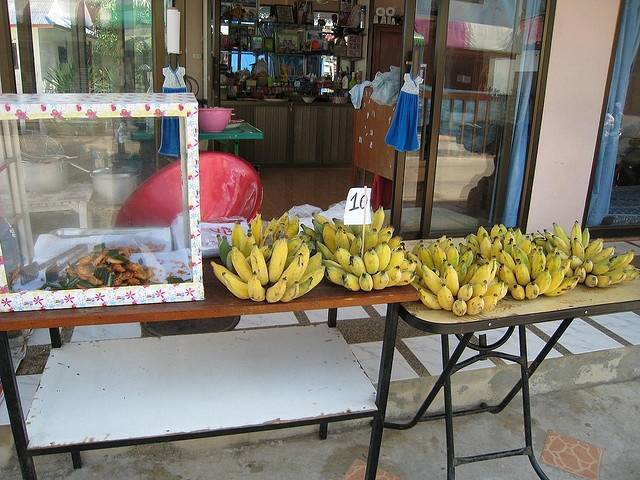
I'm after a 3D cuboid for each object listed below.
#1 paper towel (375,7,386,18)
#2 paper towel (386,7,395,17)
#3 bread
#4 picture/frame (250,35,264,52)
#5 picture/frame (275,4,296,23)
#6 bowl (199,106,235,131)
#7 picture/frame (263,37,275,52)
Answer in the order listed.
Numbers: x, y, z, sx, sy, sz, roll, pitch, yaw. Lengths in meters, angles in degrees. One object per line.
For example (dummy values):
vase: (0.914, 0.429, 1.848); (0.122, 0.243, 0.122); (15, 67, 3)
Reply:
paper towel: (0.988, -3.797, 7.714); (0.205, 0.146, 0.085); (-10, 21, -26)
paper towel: (1.180, -3.806, 7.740); (0.167, 0.139, 0.075); (-9, 20, -23)
bread: (-0.663, 0.087, 1.460); (0.246, 0.140, 0.027); (-5, 18, -12)
picture/frame: (-1.074, -3.364, 7.902); (0.235, 0.287, 0.040); (1, 13, -10)
picture/frame: (-0.600, -3.830, 7.837); (0.288, 0.263, 0.104); (-3, 21, -11)
bowl: (-0.814, -0.936, 3.624); (0.253, 0.185, 0.302); (-5, 19, -13)
picture/frame: (-0.880, -3.355, 7.951); (0.232, 0.337, 0.033); (-2, 6, -23)
